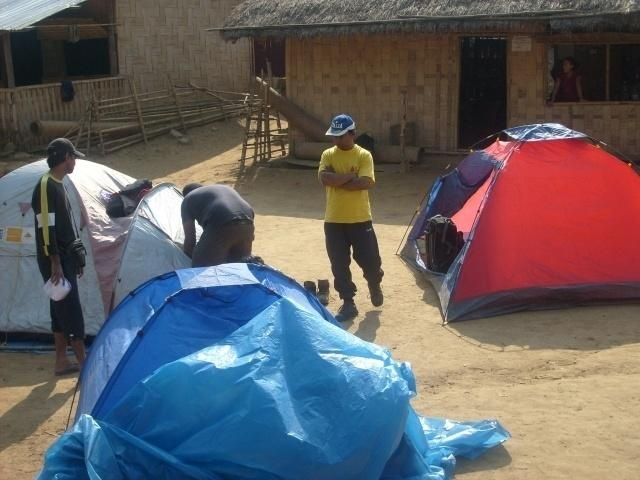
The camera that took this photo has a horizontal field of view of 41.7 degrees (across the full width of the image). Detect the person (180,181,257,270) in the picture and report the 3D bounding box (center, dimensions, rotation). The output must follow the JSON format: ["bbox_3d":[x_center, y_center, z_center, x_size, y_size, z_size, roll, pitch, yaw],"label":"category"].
[{"bbox_3d":[-1.125,-0.152,9.174,0.515,0.927,1.332,13,20,-25],"label":"person"}]

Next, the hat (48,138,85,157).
[{"bbox_3d":[-2.723,-1.044,9.138,0.383,0.222,0.254,-7,11,-39],"label":"hat"}]

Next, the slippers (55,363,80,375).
[{"bbox_3d":[-2.761,1.416,9.260,0.254,0.122,0.108,-7,11,-15],"label":"slippers"}]

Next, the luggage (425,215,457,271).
[{"bbox_3d":[1.735,-0.008,11.296,0.391,0.857,0.551,3,0,24],"label":"luggage"}]

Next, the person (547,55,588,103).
[{"bbox_3d":[5.048,-3.367,17.120,0.731,1.533,0.469,0,24,19],"label":"person"}]

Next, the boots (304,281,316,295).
[{"bbox_3d":[-0.125,0.547,10.066,0.096,0.197,0.101,9,27,20],"label":"boots"}]

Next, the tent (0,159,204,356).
[{"bbox_3d":[-2.670,0.060,10.217,1.912,1.559,2.129,2,17,10],"label":"tent"}]

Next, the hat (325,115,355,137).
[{"bbox_3d":[0.244,-1.422,10.196,0.297,0.260,0.572,1,9,-3],"label":"hat"}]

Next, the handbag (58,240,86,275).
[{"bbox_3d":[-2.628,0.150,9.070,0.188,0.342,0.247,40,21,31],"label":"handbag"}]
